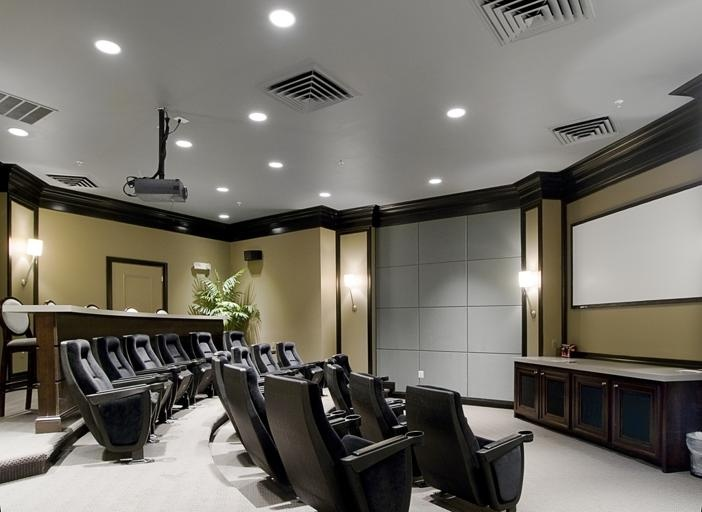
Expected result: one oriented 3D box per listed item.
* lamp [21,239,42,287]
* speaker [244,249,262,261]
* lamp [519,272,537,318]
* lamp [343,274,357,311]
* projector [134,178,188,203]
[{"bbox_3d":[-5.234,0.136,7.796,0.227,0.795,0.482,-1,-5,-18],"label":"lamp"},{"bbox_3d":[-2.197,0.000,10.539,0.477,0.254,0.216,-7,-6,38],"label":"speaker"},{"bbox_3d":[2.949,0.653,7.835,0.196,0.791,0.453,-1,-4,-6],"label":"lamp"},{"bbox_3d":[-0.011,0.782,9.736,0.293,0.764,0.083,-5,-5,35],"label":"lamp"},{"bbox_3d":[-2.337,-0.813,5.824,0.368,0.176,0.393,1,4,1],"label":"projector"}]
